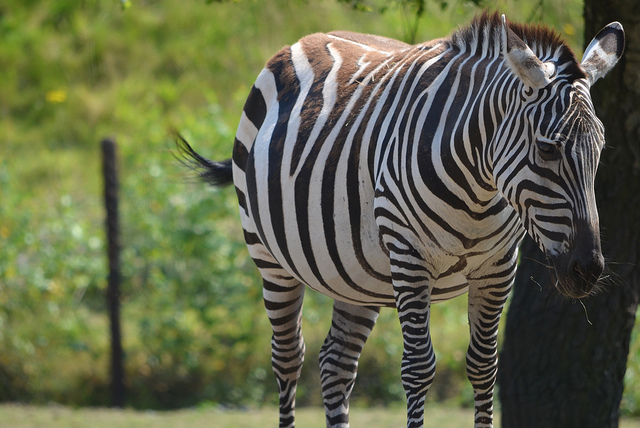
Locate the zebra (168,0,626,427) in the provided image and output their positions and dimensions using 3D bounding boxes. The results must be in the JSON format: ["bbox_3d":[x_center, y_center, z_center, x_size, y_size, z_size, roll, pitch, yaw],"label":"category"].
[{"bbox_3d":[0.631,0.026,7.890,2.577,2.813,0.899,-7,-13,40],"label":"zebra"}]
